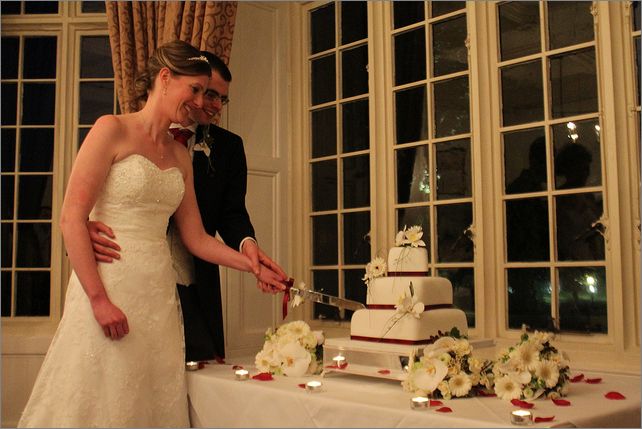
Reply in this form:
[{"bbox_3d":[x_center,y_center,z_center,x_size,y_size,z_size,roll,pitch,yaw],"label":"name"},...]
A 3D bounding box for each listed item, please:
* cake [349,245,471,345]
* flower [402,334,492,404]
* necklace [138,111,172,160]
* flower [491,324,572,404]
[{"bbox_3d":[0.448,0.375,2.822,0.477,0.441,0.469,6,-8,-44],"label":"cake"},{"bbox_3d":[0.533,0.664,2.457,0.242,0.185,0.315,-8,2,42],"label":"flower"},{"bbox_3d":[-0.835,-0.400,2.892,0.135,0.278,0.103,-4,-9,-2],"label":"necklace"},{"bbox_3d":[0.910,0.642,2.426,0.352,0.273,0.120,1,-5,-10],"label":"flower"}]
